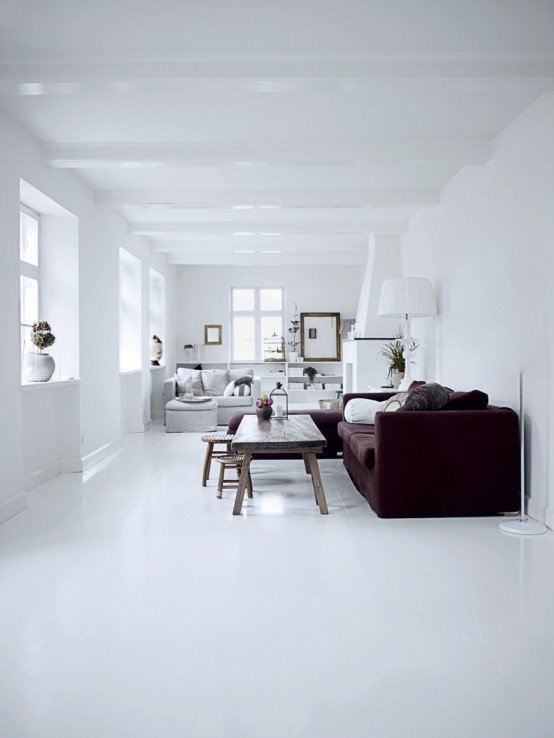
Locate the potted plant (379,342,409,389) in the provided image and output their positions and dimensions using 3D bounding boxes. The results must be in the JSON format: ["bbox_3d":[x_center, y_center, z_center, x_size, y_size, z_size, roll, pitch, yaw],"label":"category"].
[{"bbox_3d":[1.338,-0.048,6.369,0.337,0.469,0.357,14,38,39],"label":"potted plant"}]

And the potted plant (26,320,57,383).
[{"bbox_3d":[-1.868,-0.143,4.482,0.204,0.450,0.206,7,1,21],"label":"potted plant"}]

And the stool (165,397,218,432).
[{"bbox_3d":[-1.222,0.610,8.130,0.521,0.309,0.526,0,1,-8],"label":"stool"}]

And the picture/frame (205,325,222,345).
[{"bbox_3d":[-1.231,-0.683,10.890,0.359,0.418,0.032,-1,1,-4],"label":"picture/frame"}]

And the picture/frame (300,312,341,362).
[{"bbox_3d":[0.815,-0.594,10.827,0.916,1.088,0.073,0,-3,-5],"label":"picture/frame"}]

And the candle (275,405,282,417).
[{"bbox_3d":[0.019,0.361,4.929,0.078,0.090,0.077,-2,2,-41],"label":"candle"}]

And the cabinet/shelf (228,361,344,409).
[{"bbox_3d":[0.143,0.294,10.840,1.951,0.987,0.336,-1,19,-16],"label":"cabinet/shelf"}]
